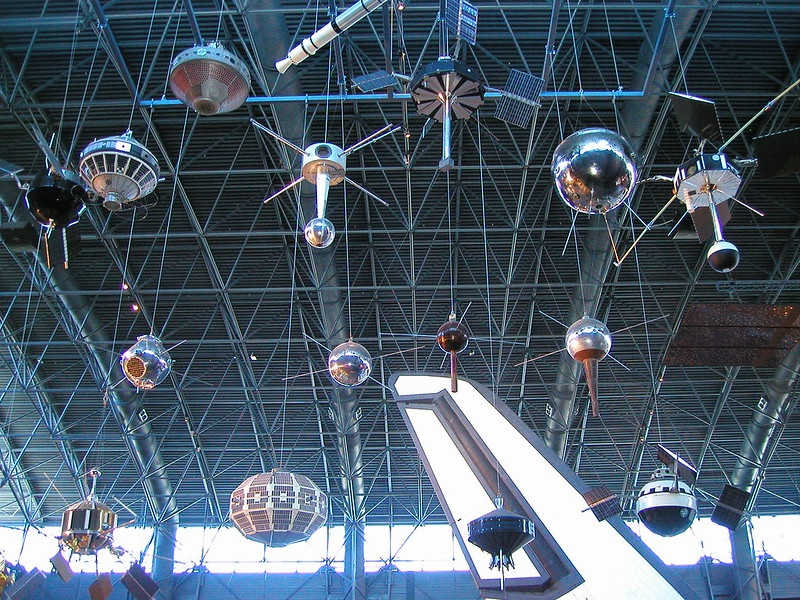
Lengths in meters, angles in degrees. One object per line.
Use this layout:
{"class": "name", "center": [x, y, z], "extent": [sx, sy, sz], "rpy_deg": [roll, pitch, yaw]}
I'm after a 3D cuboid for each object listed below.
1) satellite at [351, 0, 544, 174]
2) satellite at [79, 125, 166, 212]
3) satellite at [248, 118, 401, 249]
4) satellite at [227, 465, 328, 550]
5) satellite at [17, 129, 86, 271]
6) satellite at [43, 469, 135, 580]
{"class": "satellite", "center": [1.214, -5.621, 22.319], "extent": [3.775, 4.078, 3.719], "rpy_deg": [-11, -52, 15]}
{"class": "satellite", "center": [-5.604, -2.486, 17.677], "extent": [1.629, 1.767, 1.589], "rpy_deg": [10, -39, -8]}
{"class": "satellite", "center": [-1.619, -2.131, 17.394], "extent": [2.891, 2.182, 2.796], "rpy_deg": [-8, -16, 25]}
{"class": "satellite", "center": [-3.092, 5.535, 22.923], "extent": [2.193, 1.427, 2.142], "rpy_deg": [1, -30, -4]}
{"class": "satellite", "center": [-6.767, -1.899, 17.185], "extent": [2.846, 1.989, 1.022], "rpy_deg": [-5, -10, 45]}
{"class": "satellite", "center": [-9.387, 6.618, 26.442], "extent": [2.371, 3.405, 2.350], "rpy_deg": [-18, -34, 20]}
